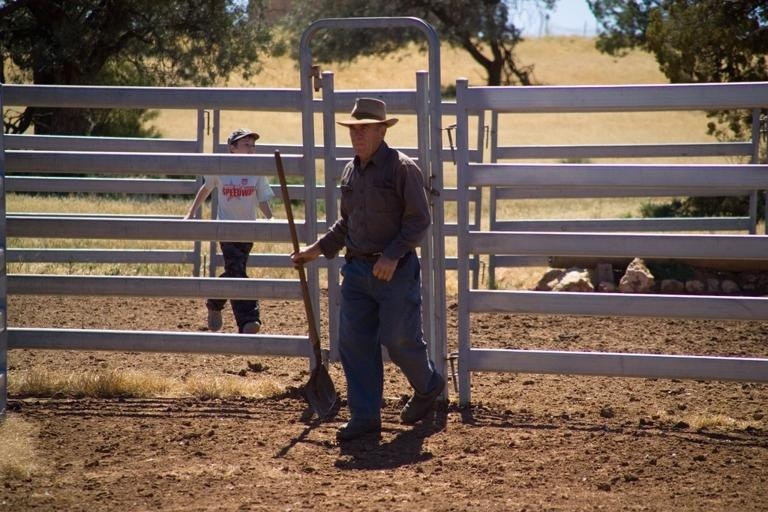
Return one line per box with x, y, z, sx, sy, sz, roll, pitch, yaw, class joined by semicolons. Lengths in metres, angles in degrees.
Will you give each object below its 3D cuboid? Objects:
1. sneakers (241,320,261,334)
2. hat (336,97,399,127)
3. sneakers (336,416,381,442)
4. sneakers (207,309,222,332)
-2.027;1.136;21.943;0.290;0.194;0.231;-2;9;-11;sneakers
-0.232;-2.074;20.597;0.618;0.295;0.721;0;-5;9;hat
-0.353;2.524;20.384;0.524;0.247;0.294;-3;15;-10;sneakers
-2.639;1.045;22.517;0.174;0.381;0.176;1;15;2;sneakers
